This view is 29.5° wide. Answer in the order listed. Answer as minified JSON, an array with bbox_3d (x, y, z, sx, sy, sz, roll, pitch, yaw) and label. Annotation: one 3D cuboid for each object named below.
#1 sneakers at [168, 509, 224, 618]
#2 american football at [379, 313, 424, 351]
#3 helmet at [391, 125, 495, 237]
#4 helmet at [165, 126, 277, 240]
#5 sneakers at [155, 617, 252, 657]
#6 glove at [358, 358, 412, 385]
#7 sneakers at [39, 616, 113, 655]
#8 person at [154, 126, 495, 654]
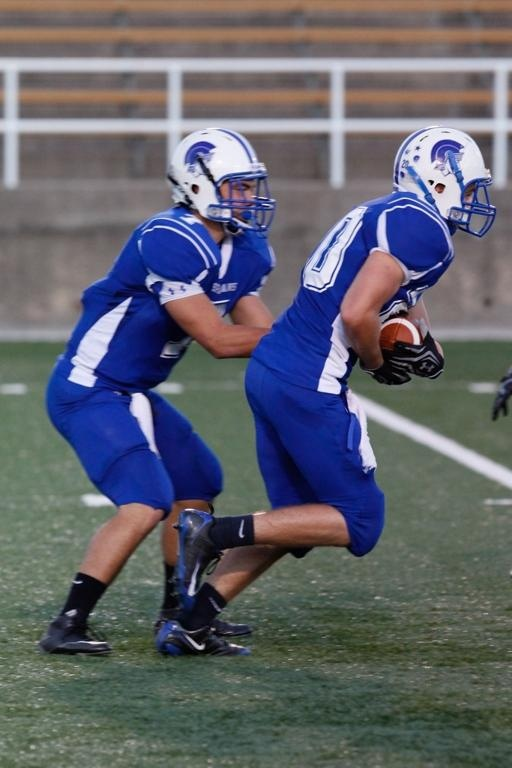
[{"bbox_3d":[-0.134,0.437,2.387,0.160,0.242,0.093,8,-3,3],"label":"sneakers"},{"bbox_3d":[0.361,-0.130,2.467,0.115,0.086,0.076,-12,22,1],"label":"american football"},{"bbox_3d":[0.504,-0.541,2.569,0.305,0.231,0.208,14,17,9],"label":"helmet"},{"bbox_3d":[-0.087,-0.565,2.667,0.334,0.233,0.220,10,22,12],"label":"helmet"},{"bbox_3d":[-0.144,0.633,2.423,0.262,0.079,0.084,4,-3,-11],"label":"sneakers"},{"bbox_3d":[0.340,-0.022,2.529,0.122,0.043,0.066,23,-1,-21],"label":"glove"},{"bbox_3d":[-0.449,0.625,2.423,0.207,0.078,0.077,-2,-8,21],"label":"sneakers"},{"bbox_3d":[0.122,0.098,2.413,0.682,1.141,0.427,1,5,7],"label":"person"}]
